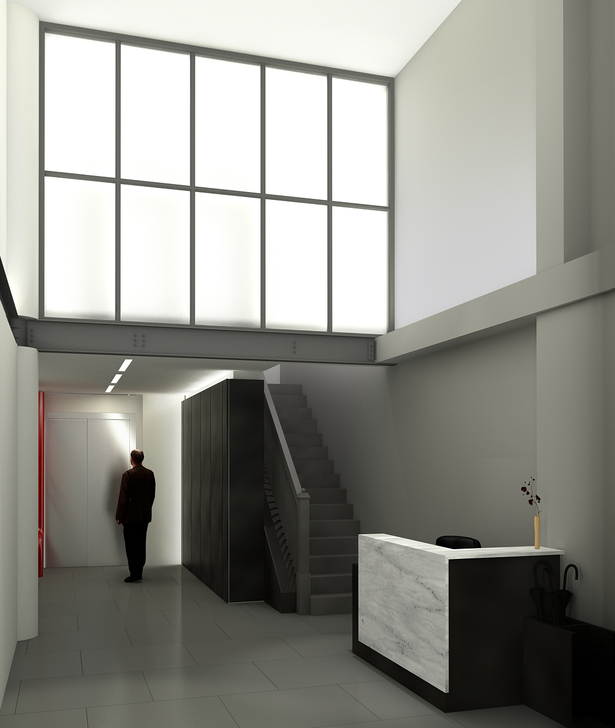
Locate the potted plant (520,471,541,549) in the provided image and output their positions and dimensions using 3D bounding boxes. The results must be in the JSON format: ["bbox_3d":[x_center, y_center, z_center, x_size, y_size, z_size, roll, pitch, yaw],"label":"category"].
[{"bbox_3d":[1.626,1.073,4.820,0.133,0.501,0.789,-3,-9,17],"label":"potted plant"}]

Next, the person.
[{"bbox_3d":[-2.537,2.234,9.810,0.486,1.899,0.539,-1,-6,1],"label":"person"}]
